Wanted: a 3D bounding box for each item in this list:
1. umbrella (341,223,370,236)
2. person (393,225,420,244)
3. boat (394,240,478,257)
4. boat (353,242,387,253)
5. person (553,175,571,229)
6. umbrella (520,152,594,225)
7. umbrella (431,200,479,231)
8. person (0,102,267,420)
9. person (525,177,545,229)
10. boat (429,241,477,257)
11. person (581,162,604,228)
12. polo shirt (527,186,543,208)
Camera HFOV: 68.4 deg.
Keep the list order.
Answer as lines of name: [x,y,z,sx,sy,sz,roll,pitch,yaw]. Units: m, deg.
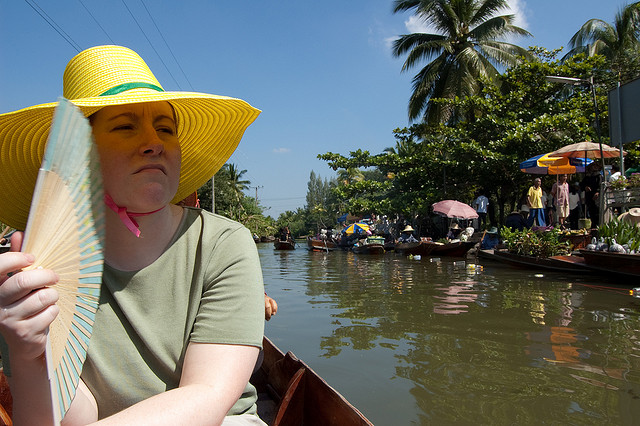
umbrella: [2.346,1.061,31.251,0.782,0.849,2.644,4,-5,-18]
person: [4.313,1.050,23.213,0.936,0.475,1.019,3,-12,-12]
boat: [4.729,1.447,19.200,0.702,0.474,3.164,6,-5,-17]
boat: [2.590,1.838,24.696,0.665,0.507,2.970,3,-5,-14]
person: [7.171,-0.332,13.972,0.412,1.581,1.311,0,-5,26]
umbrella: [7.513,-0.734,15.277,2.092,2.502,2.177,-5,-10,4]
umbrella: [5.470,-0.030,19.274,1.071,0.758,1.113,19,-6,10]
person: [-0.680,0.328,1.908,0.895,1.479,0.458,-2,9,-4]
person: [6.652,-0.329,14.576,0.511,1.631,1.019,0,-5,24]
boat: [5.186,1.375,18.069,0.521,0.576,1.757,4,-5,-27]
person: [7.437,-0.514,12.914,0.495,1.720,1.310,0,-5,29]
polo shirt: [6.584,-0.493,14.401,0.389,0.675,0.302,0,-5,22]
